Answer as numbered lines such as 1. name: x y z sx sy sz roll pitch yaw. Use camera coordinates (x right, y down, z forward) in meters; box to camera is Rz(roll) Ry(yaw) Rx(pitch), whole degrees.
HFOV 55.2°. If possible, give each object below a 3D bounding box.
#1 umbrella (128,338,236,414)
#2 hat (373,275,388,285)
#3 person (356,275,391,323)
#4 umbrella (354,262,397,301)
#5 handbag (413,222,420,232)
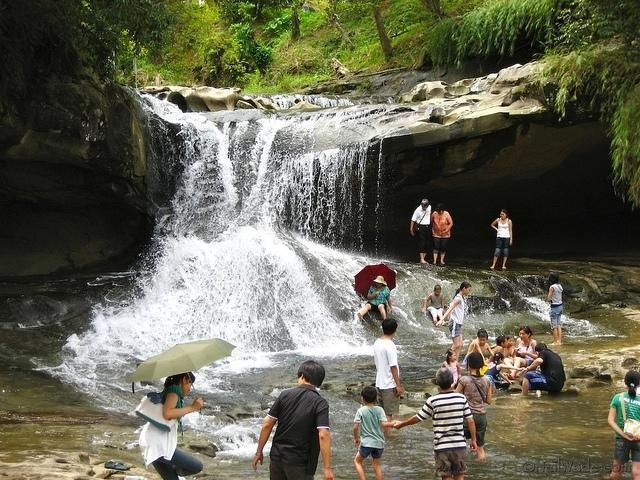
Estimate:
1. umbrella: -1.599 1.393 7.107 0.797 0.551 0.875 -18 7 4
2. hat: 1.395 0.936 14.033 0.274 0.222 0.302 0 -8 5
3. person: 1.342 1.394 14.271 0.648 0.813 1.108 5 27 16
4. umbrella: 1.270 0.971 14.452 0.789 0.826 0.806 -10 15 10
5. handbag: 3.144 -0.397 20.256 0.254 0.375 0.330 -1 -4 2
